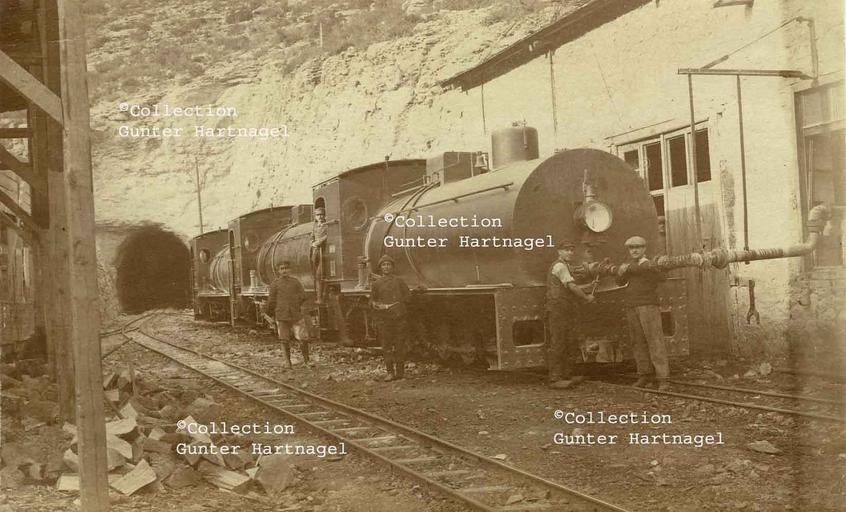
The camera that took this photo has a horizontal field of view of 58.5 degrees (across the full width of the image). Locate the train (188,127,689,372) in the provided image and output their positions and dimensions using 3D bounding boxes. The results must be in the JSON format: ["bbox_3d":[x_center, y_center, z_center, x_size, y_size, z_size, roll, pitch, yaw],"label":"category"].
[{"bbox_3d":[-1.095,-0.191,16.904,3.486,4.349,12.690,-8,7,-36],"label":"train"}]

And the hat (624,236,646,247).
[{"bbox_3d":[3.368,-0.237,11.960,0.266,0.141,0.186,-2,5,11],"label":"hat"}]

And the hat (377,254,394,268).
[{"bbox_3d":[-0.659,0.081,13.389,0.225,0.205,0.255,2,2,-7],"label":"hat"}]
